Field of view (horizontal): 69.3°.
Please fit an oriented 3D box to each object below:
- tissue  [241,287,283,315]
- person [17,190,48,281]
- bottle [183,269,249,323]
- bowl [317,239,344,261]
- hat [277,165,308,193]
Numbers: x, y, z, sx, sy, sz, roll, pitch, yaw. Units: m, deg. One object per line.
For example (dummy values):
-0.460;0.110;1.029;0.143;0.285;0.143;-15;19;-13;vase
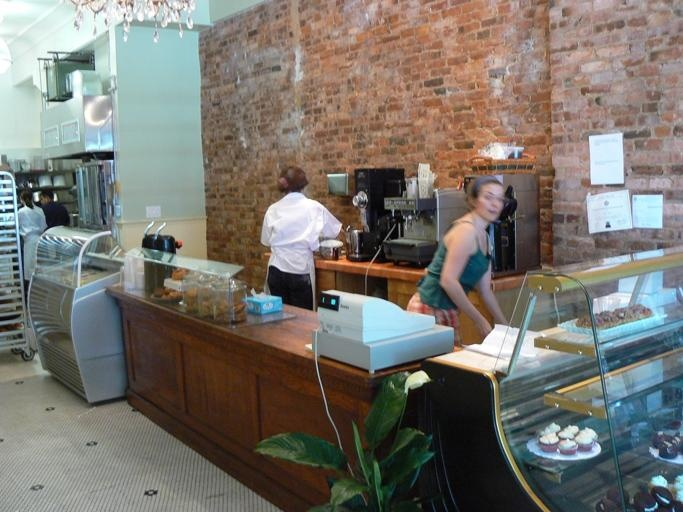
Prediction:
-0.539;0.302;3.409;0.158;0.124;0.160;-3;7;-42;tissue 
-4.689;-0.353;7.510;0.390;1.296;1.352;-8;10;-32;person
-0.878;0.261;3.395;0.181;0.304;0.615;-11;11;-43;bottle
-0.114;-0.064;5.237;0.179;0.160;0.230;4;6;36;bowl
-0.478;-0.742;4.852;0.265;0.251;0.208;-4;8;-5;hat
